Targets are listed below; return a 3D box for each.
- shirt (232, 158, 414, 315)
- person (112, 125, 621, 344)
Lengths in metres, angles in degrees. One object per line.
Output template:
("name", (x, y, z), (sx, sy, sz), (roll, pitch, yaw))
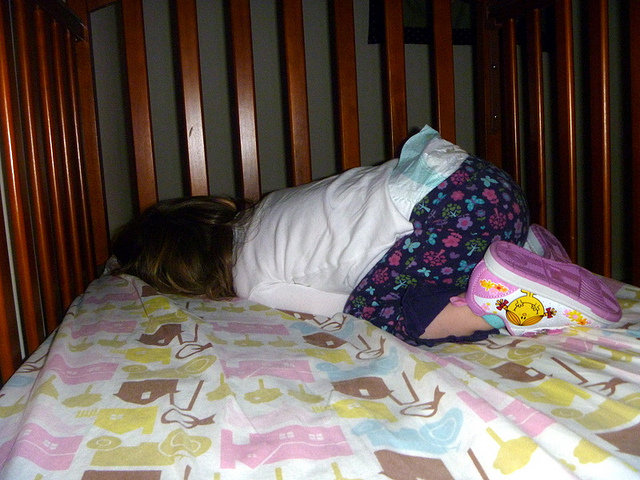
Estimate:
("shirt", (-0.023, 0.007, 1.203), (0.451, 0.310, 0.160), (-9, -35, 15))
("person", (0.058, -0.036, 1.380), (1.174, 0.584, 0.426), (-6, -56, 20))
